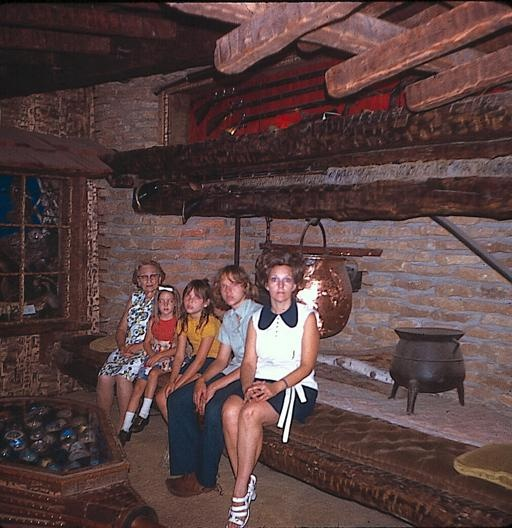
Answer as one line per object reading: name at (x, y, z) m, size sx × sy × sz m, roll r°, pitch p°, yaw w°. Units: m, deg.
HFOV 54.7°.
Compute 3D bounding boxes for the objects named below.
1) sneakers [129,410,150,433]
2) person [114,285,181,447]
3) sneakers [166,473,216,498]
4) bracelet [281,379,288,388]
sneakers at (-0.804, 1.108, 3.475) m, size 0.075 × 0.067 × 0.184 m, roll 1°, pitch 0°, yaw 12°
person at (-0.704, 0.669, 3.485) m, size 0.346 × 1.160 × 0.368 m, roll 15°, pitch -20°, yaw 4°
sneakers at (-0.380, 1.240, 2.847) m, size 0.308 × 0.166 × 0.111 m, roll 2°, pitch 1°, yaw 6°
bracelet at (0.147, 0.598, 2.488) m, size 0.043 × 0.026 × 0.038 m, roll -9°, pitch -1°, yaw -25°
